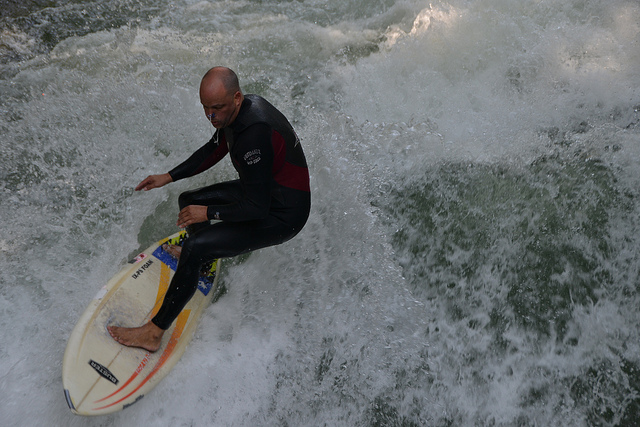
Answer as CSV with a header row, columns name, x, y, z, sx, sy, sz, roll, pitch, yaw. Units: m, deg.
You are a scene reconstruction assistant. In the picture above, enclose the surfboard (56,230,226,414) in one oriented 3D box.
name,x,y,z,sx,sy,sz,roll,pitch,yaw
surfboard,-1.938,1.150,7.094,1.137,0.336,3.499,44,-58,1
